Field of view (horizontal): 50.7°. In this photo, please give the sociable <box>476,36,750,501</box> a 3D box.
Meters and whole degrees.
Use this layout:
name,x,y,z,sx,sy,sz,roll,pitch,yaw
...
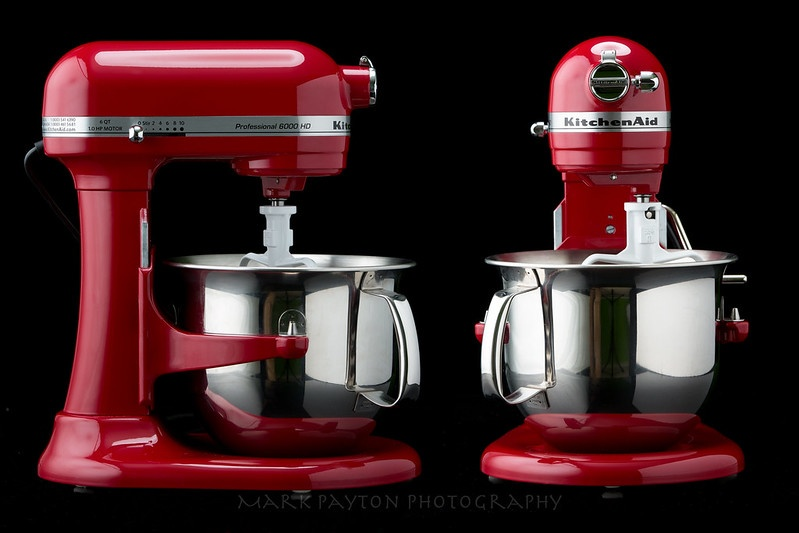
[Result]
name,x,y,z,sx,sy,sz,roll,pitch,yaw
sociable,0.435,-0.026,1.733,0.546,0.879,0.449,1,10,14
